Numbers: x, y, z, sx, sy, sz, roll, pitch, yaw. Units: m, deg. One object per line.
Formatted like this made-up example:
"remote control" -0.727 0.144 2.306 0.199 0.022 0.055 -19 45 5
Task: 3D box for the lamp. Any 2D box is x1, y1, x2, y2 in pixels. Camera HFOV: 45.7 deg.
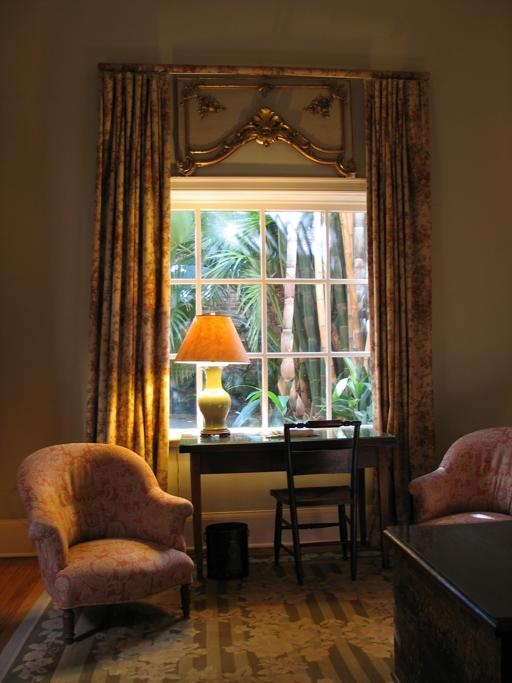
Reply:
"lamp" -0.252 0.190 3.406 0.393 0.655 0.518 -1 -3 -7

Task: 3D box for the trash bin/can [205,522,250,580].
"trash bin/can" -0.149 1.073 3.108 0.268 0.240 0.231 0 -15 -14

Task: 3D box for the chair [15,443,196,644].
"chair" -0.657 0.811 2.575 0.742 0.613 0.701 3 0 23

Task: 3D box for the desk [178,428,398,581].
"desk" 0.209 0.814 3.294 1.065 0.603 0.587 -3 -5 4
